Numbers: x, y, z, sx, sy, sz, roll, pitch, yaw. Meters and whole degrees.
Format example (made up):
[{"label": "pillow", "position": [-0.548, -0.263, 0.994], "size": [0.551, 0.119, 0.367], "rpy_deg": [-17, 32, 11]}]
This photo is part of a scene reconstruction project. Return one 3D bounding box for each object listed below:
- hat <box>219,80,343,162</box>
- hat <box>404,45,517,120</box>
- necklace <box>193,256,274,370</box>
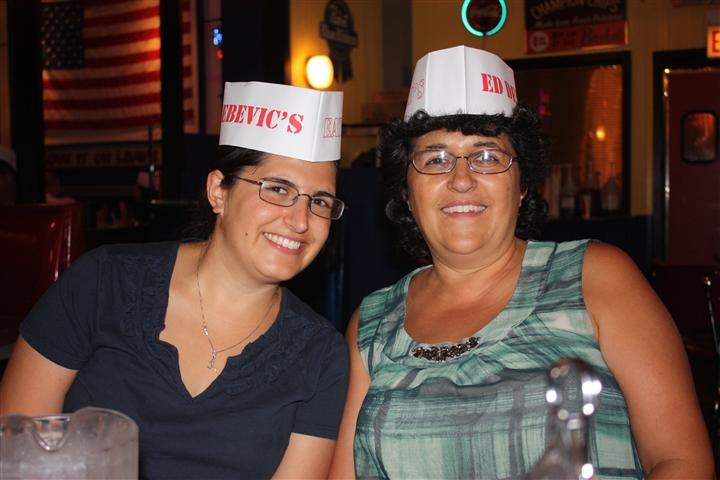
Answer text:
[{"label": "hat", "position": [-0.385, -0.578, 3.596], "size": [0.622, 0.374, 0.506], "rpy_deg": [8, 5, 3]}, {"label": "hat", "position": [0.528, -0.738, 3.726], "size": [0.547, 0.337, 0.614], "rpy_deg": [2, -2, -10]}, {"label": "necklace", "position": [-0.602, 0.359, 3.259], "size": [0.264, 0.535, 0.026], "rpy_deg": [21, -19, -13]}]
